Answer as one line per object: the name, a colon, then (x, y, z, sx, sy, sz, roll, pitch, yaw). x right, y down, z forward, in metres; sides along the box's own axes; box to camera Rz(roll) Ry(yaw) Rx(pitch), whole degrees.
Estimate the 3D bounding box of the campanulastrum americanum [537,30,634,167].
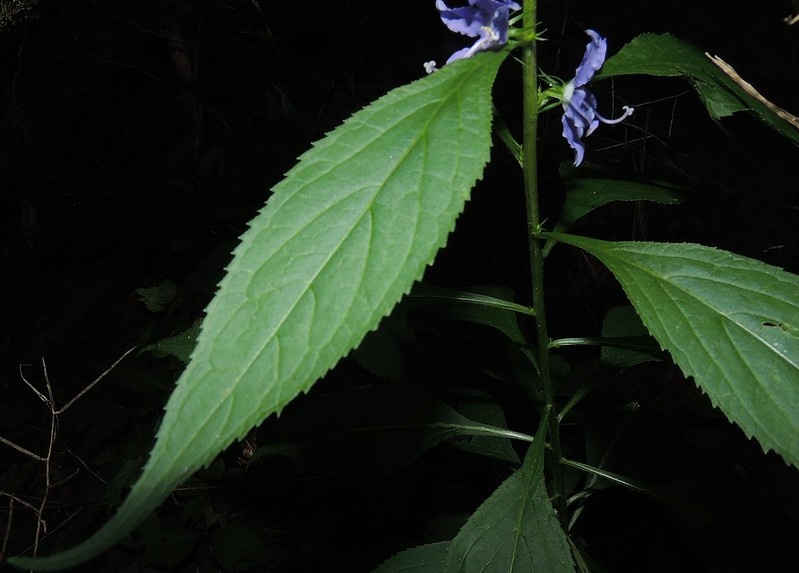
campanulastrum americanum: (0.550, -0.529, 2.048, 0.206, 0.305, 0.600, 7, 4, 16)
